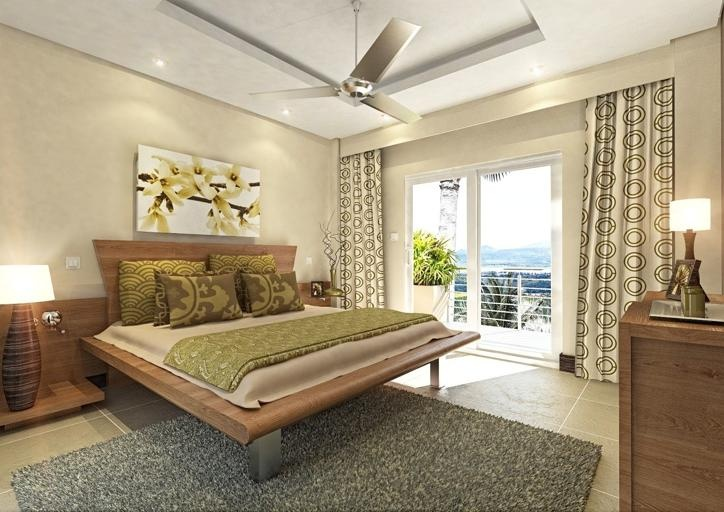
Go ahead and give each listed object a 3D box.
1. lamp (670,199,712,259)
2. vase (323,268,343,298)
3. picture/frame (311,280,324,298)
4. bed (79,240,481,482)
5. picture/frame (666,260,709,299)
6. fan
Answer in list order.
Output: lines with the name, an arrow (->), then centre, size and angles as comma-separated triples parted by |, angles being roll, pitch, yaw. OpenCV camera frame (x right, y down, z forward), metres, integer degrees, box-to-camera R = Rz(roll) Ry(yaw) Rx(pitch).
lamp -> 2.543, -0.220, 3.372 | 0.238, 0.459, 0.427 | 3, 7, 24
vase -> -0.388, 0.363, 6.025 | 0.419, 0.411, 0.393 | 1, -4, -17
picture/frame -> -0.605, 0.462, 5.968 | 0.207, 0.191, 0.067 | 13, -21, -38
bed -> -0.756, 0.599, 4.348 | 2.891, 1.332, 2.742 | 5, 6, 44
picture/frame -> 2.199, 0.154, 2.949 | 0.194, 0.258, 0.211 | -7, 2, 2
fan -> 0.054, -1.508, 3.617 | 1.113, 0.653, 1.095 | 8, -8, -43
